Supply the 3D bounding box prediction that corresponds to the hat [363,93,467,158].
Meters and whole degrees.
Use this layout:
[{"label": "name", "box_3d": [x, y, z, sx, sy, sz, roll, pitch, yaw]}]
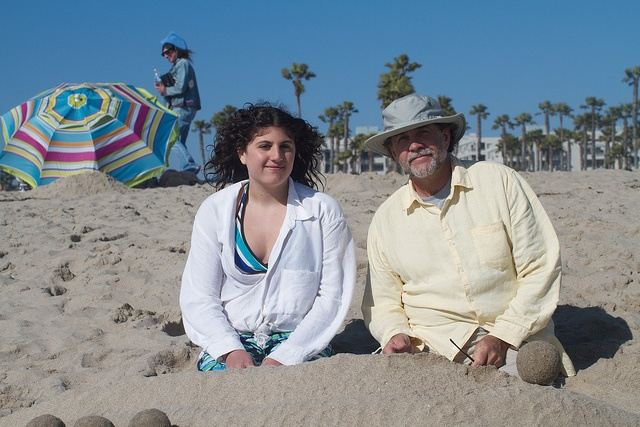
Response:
[{"label": "hat", "box_3d": [0.900, -0.914, 7.495, 1.026, 0.424, 1.083, -3, -10, -35]}]
